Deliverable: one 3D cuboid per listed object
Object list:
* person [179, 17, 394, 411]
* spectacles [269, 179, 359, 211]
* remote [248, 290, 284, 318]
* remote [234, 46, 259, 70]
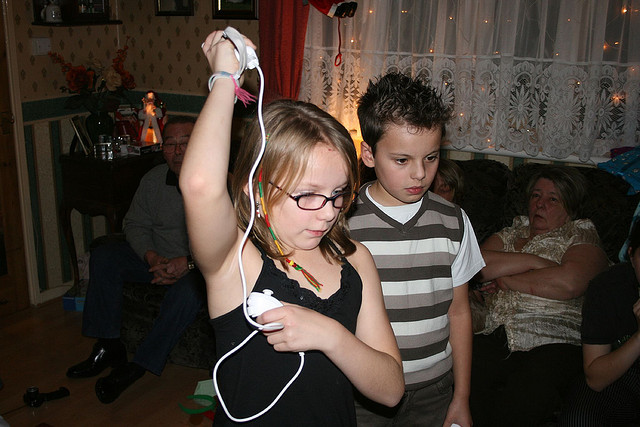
[{"bbox_3d":[-0.103,0.151,1.559,0.655,1.455,0.483,-1,14,-11],"label":"person"},{"bbox_3d":[-0.013,-0.054,1.493,0.293,0.098,0.080,-2,15,-16],"label":"spectacles"},{"bbox_3d":[-0.173,0.273,1.383,0.079,0.085,0.035,-5,-18,-14],"label":"remote"},{"bbox_3d":[-0.217,-0.466,1.373,0.060,0.083,0.026,-22,6,-23],"label":"remote"}]
